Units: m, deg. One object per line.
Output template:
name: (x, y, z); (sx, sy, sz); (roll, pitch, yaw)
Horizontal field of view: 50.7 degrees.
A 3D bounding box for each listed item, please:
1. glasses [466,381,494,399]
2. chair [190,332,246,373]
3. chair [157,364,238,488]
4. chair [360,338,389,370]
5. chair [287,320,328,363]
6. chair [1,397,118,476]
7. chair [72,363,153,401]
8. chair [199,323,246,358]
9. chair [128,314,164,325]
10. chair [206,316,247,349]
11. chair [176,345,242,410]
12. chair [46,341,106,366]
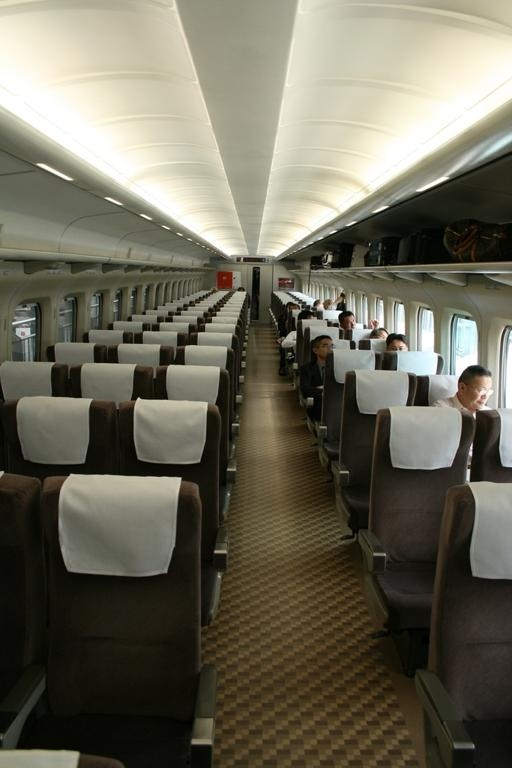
glasses: (1.700, 0.041, 4.070); (0.204, 0.170, 0.086); (-3, 9, -30)
chair: (-0.527, -0.451, 7.676); (0.492, 0.691, 0.633); (1, 2, 10)
chair: (-0.434, 0.248, 4.158); (0.676, 1.066, 0.854); (2, 6, 5)
chair: (1.524, -0.404, 7.089); (0.406, 0.608, 0.457); (1, 4, 6)
chair: (0.889, -0.796, 9.302); (0.597, 0.909, 0.746); (12, -4, 13)
chair: (-1.028, 0.275, 2.865); (0.355, 0.335, 0.212); (2, 20, 2)
chair: (-1.165, -0.025, 4.405); (0.558, 0.413, 0.338); (4, 21, 3)
chair: (-0.563, -0.703, 8.518); (0.439, 0.654, 0.589); (2, 13, 9)
chair: (-2.222, -1.310, 10.909); (0.533, 0.215, 0.180); (15, -13, 13)
chair: (-0.565, -0.988, 9.191); (0.500, 0.716, 0.627); (2, -2, 10)
chair: (-0.467, -0.085, 5.814); (0.554, 0.822, 0.715); (1, 7, 6)
chair: (-1.995, -0.334, 6.138); (0.623, 0.245, 0.142); (4, 9, 14)
